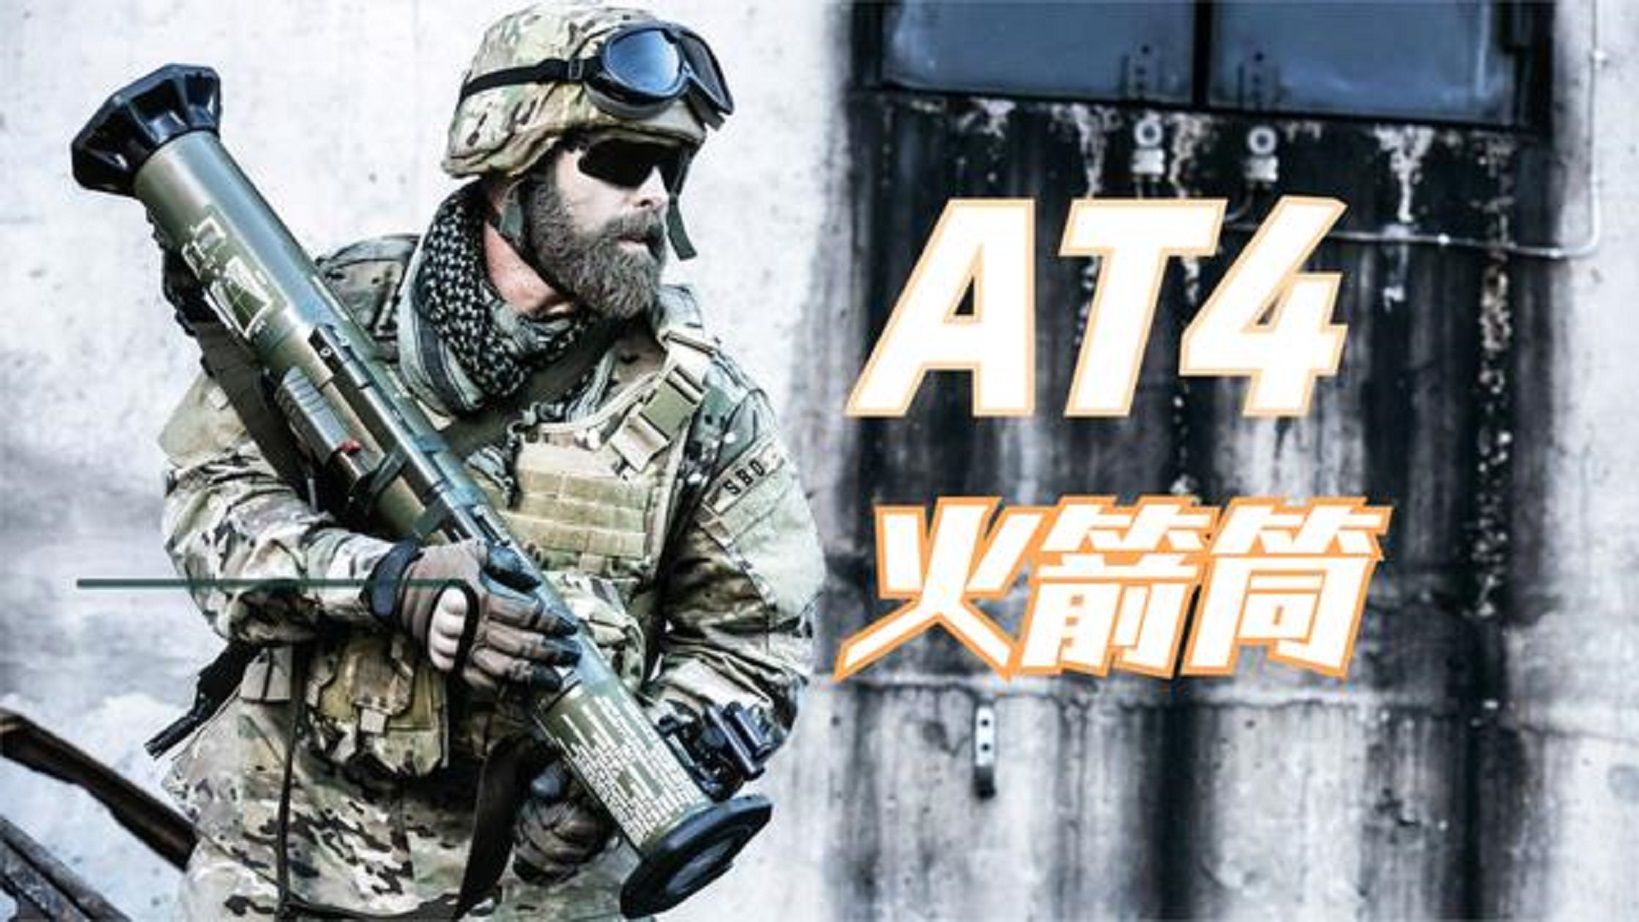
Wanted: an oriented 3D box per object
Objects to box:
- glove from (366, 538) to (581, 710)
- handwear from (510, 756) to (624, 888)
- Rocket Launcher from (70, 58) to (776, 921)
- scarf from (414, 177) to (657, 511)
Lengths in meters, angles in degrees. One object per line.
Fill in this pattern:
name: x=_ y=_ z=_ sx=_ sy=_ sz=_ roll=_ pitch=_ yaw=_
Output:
glove: x=-1.192 y=0.518 z=9.127 sx=0.728 sy=0.501 sz=0.137 roll=1 pitch=-10 yaw=-9
handwear: x=-0.899 y=1.242 z=9.306 sx=0.444 sy=0.328 sz=0.192 roll=-37 pitch=-6 yaw=7
Rocket Launcher: x=-1.456 y=0.076 z=9.568 sx=0.805 sy=3.598 sz=0.838 roll=-25 pitch=-21 yaw=-47
scarf: x=-1.201 y=-0.481 z=9.804 sx=0.703 sy=0.962 sz=0.367 roll=24 pitch=-4 yaw=1
